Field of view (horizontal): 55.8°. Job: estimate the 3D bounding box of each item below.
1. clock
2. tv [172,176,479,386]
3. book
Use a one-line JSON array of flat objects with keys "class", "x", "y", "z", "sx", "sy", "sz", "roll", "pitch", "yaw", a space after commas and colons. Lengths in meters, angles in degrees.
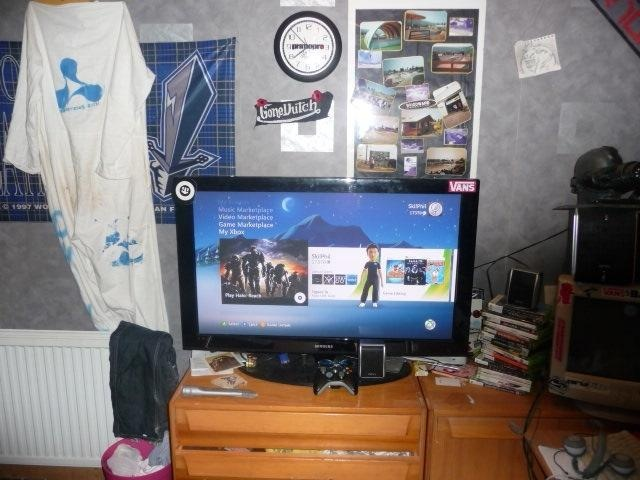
[{"class": "clock", "x": -0.050, "y": -0.907, "z": 2.745, "sx": 0.313, "sy": 0.313, "sz": 0.041, "roll": 1, "pitch": 11, "yaw": 3}, {"class": "tv", "x": 0.029, "y": 0.152, "z": 2.603, "sx": 0.909, "sy": 0.638, "sz": 0.261, "roll": 0, "pitch": 5, "yaw": 1}, {"class": "book", "x": 0.822, "y": 0.436, "z": 2.586, "sx": 0.344, "sy": 0.362, "sz": 0.123, "roll": 7, "pitch": 1, "yaw": 10}]
